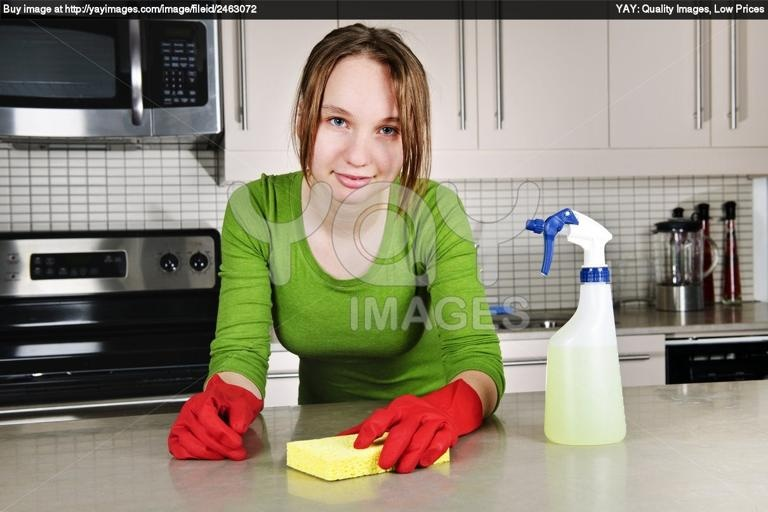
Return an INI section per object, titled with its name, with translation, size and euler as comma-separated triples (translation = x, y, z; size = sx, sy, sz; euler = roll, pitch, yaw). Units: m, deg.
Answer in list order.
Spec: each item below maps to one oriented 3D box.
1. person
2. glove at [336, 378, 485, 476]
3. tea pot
[person]
translation = -0.061, -0.048, 1.601
size = 0.784, 1.066, 0.996
euler = 1, 0, -7
[glove]
translation = 0.085, 0.299, 1.144
size = 0.191, 0.072, 0.135
euler = -23, 35, -39
[tea pot]
translation = 1.138, 0.034, 2.424
size = 0.188, 0.341, 0.156
euler = 3, 12, 21
